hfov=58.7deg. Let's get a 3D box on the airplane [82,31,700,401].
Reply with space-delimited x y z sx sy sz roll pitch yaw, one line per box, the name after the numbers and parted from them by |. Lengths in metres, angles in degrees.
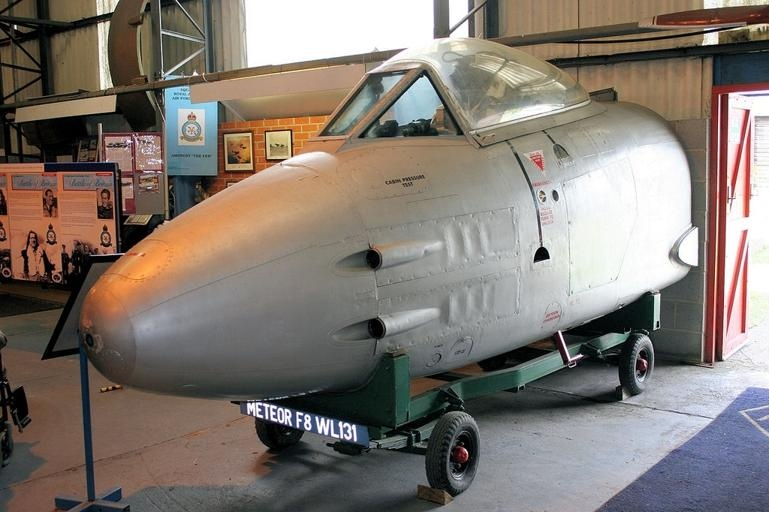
0.108 -0.621 6.577 5.369 2.392 2.608 -9 18 -28 | airplane
